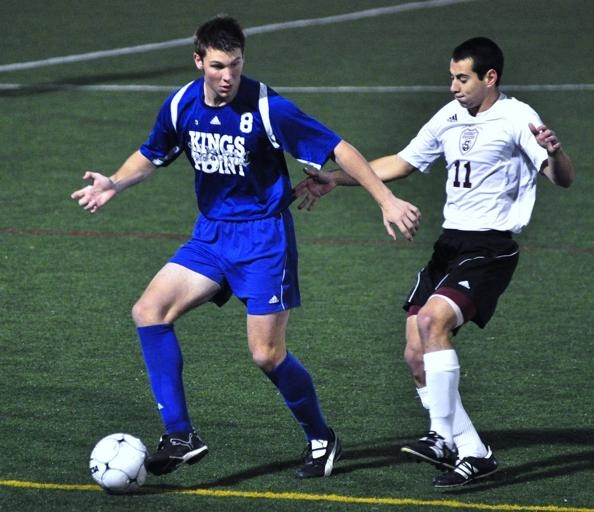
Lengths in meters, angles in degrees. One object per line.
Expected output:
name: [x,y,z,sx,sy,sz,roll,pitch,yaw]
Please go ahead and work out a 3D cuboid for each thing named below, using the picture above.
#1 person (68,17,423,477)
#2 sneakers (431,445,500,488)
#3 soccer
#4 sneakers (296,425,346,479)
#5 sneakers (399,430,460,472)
person: [-0.429,-0.017,5.592,1.416,2.314,1.134,12,26,35]
sneakers: [0.867,1.091,5.673,0.437,0.141,0.133,-14,16,-19]
soccer: [-0.902,1.043,5.452,0.308,0.257,0.290,12,-20,-33]
sneakers: [0.143,1.037,5.712,0.132,0.143,0.332,-3,33,44]
sneakers: [0.702,0.980,5.465,0.395,0.179,0.130,23,-19,-30]
